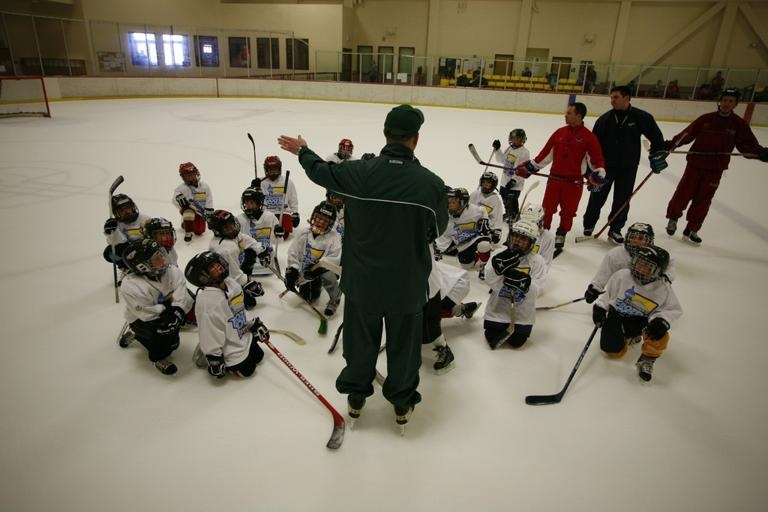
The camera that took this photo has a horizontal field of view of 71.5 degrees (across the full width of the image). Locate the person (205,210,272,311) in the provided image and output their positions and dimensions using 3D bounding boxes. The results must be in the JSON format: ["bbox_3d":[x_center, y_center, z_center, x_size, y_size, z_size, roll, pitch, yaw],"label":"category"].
[{"bbox_3d":[-1.627,0.068,5.902,0.625,1.123,0.567,-1,50,-2],"label":"person"}]

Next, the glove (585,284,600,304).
[{"bbox_3d":[2.245,0.402,5.756,0.145,0.201,0.072,17,-12,15],"label":"glove"}]

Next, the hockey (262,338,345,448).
[{"bbox_3d":[-0.810,1.200,5.185,0.358,0.077,1.553,-29,46,-24],"label":"hockey"}]

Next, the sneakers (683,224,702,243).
[{"bbox_3d":[4.603,-0.333,7.933,0.104,0.182,0.283,-27,45,-23],"label":"sneakers"}]

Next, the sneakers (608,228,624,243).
[{"bbox_3d":[3.480,-0.313,8.009,0.107,0.125,0.287,1,32,12],"label":"sneakers"}]

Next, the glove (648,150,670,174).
[{"bbox_3d":[3.963,-1.359,7.673,0.301,0.388,0.142,5,6,27],"label":"glove"}]

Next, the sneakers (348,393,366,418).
[{"bbox_3d":[-0.261,1.342,4.779,0.105,0.120,0.282,2,17,-1],"label":"sneakers"}]

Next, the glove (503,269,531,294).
[{"bbox_3d":[1.386,0.258,5.529,0.266,0.237,0.143,-3,23,-12],"label":"glove"}]

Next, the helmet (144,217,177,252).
[{"bbox_3d":[-2.416,-0.249,5.914,0.376,0.373,0.295,6,12,2],"label":"helmet"}]

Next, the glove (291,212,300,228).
[{"bbox_3d":[-1.359,-0.546,8.047,0.125,0.167,0.091,3,2,-30],"label":"glove"}]

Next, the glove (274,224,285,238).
[{"bbox_3d":[-1.376,-0.324,7.022,0.128,0.172,0.173,-1,1,-8],"label":"glove"}]

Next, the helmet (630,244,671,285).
[{"bbox_3d":[2.682,0.091,5.333,0.403,0.403,0.223,9,24,17],"label":"helmet"}]

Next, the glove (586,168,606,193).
[{"bbox_3d":[2.917,-1.068,7.449,0.319,0.315,0.134,2,8,-29],"label":"glove"}]

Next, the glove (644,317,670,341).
[{"bbox_3d":[2.677,0.708,5.279,0.221,0.218,0.078,25,5,-18],"label":"glove"}]

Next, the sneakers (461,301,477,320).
[{"bbox_3d":[0.946,0.586,5.965,0.122,0.287,0.100,20,46,-25],"label":"sneakers"}]

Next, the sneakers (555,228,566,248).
[{"bbox_3d":[2.541,-0.263,7.714,0.157,0.284,0.140,9,8,14],"label":"sneakers"}]

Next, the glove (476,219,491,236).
[{"bbox_3d":[1.315,-0.385,7.043,0.131,0.227,0.094,4,12,6],"label":"glove"}]

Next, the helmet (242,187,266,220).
[{"bbox_3d":[-1.629,-0.662,6.649,0.295,0.358,0.364,0,26,-4],"label":"helmet"}]

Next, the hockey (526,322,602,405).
[{"bbox_3d":[1.844,1.133,5.471,1.112,0.124,0.175,-36,39,-30],"label":"hockey"}]

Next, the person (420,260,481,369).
[{"bbox_3d":[0.660,0.651,5.455,0.334,0.927,0.837,25,69,37],"label":"person"}]

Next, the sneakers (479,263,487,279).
[{"bbox_3d":[1.213,0.188,6.579,0.059,0.131,0.190,7,56,8],"label":"sneakers"}]

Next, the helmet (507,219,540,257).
[{"bbox_3d":[1.494,-0.210,5.676,0.291,0.350,0.365,22,13,15],"label":"helmet"}]

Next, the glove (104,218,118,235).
[{"bbox_3d":[-3.255,-0.360,6.289,0.155,0.168,0.220,-10,25,-27],"label":"glove"}]

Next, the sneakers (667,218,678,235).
[{"bbox_3d":[4.388,-0.467,8.099,0.109,0.129,0.297,4,51,15],"label":"sneakers"}]

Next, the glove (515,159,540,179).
[{"bbox_3d":[2.110,-1.287,7.891,0.278,0.118,0.276,-24,14,-33],"label":"glove"}]

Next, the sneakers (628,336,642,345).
[{"bbox_3d":[2.679,0.912,5.734,0.076,0.175,0.057,-20,67,-28],"label":"sneakers"}]

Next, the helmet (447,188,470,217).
[{"bbox_3d":[0.953,-0.696,7.001,0.235,0.376,0.370,12,25,24],"label":"helmet"}]

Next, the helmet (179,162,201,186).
[{"bbox_3d":[-2.867,-1.209,7.785,0.242,0.313,0.363,-5,23,-16],"label":"helmet"}]

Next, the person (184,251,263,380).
[{"bbox_3d":[-1.629,0.633,5.286,0.616,1.116,0.744,-2,39,18],"label":"person"}]

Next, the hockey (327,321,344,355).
[{"bbox_3d":[-0.518,0.836,5.697,0.106,0.070,0.448,14,51,15],"label":"hockey"}]

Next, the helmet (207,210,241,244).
[{"bbox_3d":[-1.804,-0.332,5.992,0.352,0.335,0.275,-1,34,-6],"label":"helmet"}]

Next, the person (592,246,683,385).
[{"bbox_3d":[2.584,0.654,5.462,0.926,1.313,0.804,12,36,34],"label":"person"}]

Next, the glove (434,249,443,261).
[{"bbox_3d":[0.625,-0.012,6.241,0.116,0.146,0.126,1,30,-7],"label":"glove"}]

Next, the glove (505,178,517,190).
[{"bbox_3d":[2.071,-1.180,8.708,0.124,0.159,0.162,6,6,34],"label":"glove"}]

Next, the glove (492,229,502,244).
[{"bbox_3d":[1.532,-0.281,7.324,0.145,0.195,0.077,3,-9,15],"label":"glove"}]

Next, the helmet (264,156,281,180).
[{"bbox_3d":[-1.626,-1.289,7.714,0.265,0.315,0.340,-4,22,-9],"label":"helmet"}]

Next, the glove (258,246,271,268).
[{"bbox_3d":[-1.440,0.016,6.347,0.159,0.221,0.106,8,-6,-8],"label":"glove"}]

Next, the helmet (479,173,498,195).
[{"bbox_3d":[1.467,-1.021,7.426,0.243,0.302,0.306,9,-11,13],"label":"helmet"}]

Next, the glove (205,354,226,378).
[{"bbox_3d":[-1.634,1.060,5.148,0.175,0.302,0.167,-4,23,-13],"label":"glove"}]

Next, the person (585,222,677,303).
[{"bbox_3d":[2.784,0.093,6.037,0.785,1.009,0.459,18,22,25],"label":"person"}]

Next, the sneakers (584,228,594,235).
[{"bbox_3d":[3.126,-0.369,8.137,0.096,0.118,0.124,7,21,-11],"label":"sneakers"}]

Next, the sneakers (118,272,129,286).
[{"bbox_3d":[-2.725,0.238,5.519,0.085,0.152,0.117,16,20,18],"label":"sneakers"}]

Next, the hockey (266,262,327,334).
[{"bbox_3d":[-0.984,0.457,6.074,1.030,0.468,0.147,43,27,6],"label":"hockey"}]

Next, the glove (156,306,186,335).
[{"bbox_3d":[-2.156,0.637,5.327,0.217,0.258,0.254,0,22,-5],"label":"glove"}]

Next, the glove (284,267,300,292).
[{"bbox_3d":[-1.061,0.258,6.061,0.174,0.232,0.100,-9,3,16],"label":"glove"}]
